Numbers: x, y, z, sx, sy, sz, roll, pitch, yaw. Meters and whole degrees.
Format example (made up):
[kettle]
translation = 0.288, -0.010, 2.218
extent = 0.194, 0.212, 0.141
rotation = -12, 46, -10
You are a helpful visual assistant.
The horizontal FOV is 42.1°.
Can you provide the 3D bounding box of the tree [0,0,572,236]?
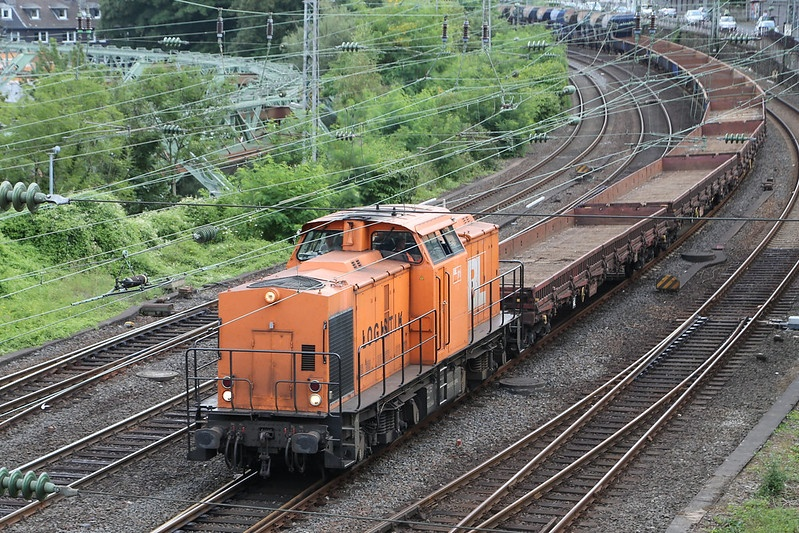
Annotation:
[tree]
translation = -5.730, -9.147, 63.235
extent = 20.140, 6.790, 34.731
rotation = 1, 11, 14
